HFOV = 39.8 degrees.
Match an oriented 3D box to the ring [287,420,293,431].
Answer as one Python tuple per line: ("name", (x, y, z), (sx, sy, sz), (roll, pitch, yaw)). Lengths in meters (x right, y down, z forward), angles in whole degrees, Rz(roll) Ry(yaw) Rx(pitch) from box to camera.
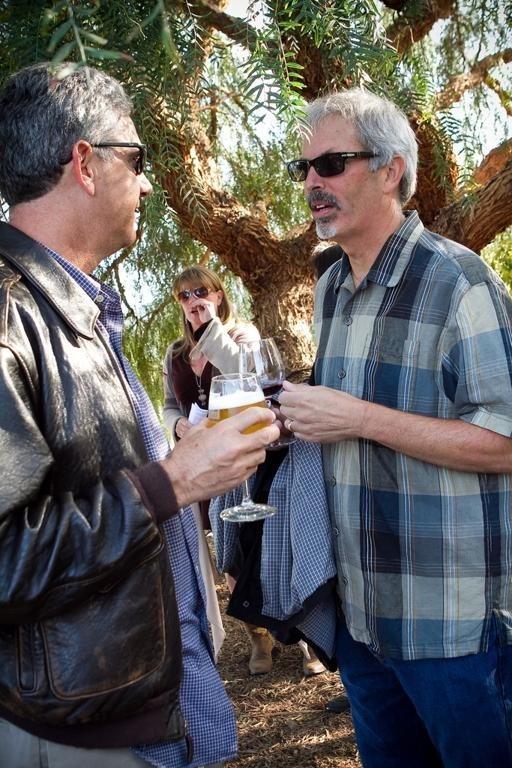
("ring", (0.092, 0.110, 1.930), (0.015, 0.026, 0.021), (3, -11, -13))

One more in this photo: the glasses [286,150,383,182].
("glasses", (0.198, -0.633, 2.007), (0.141, 0.037, 0.134), (-3, 4, 44))
